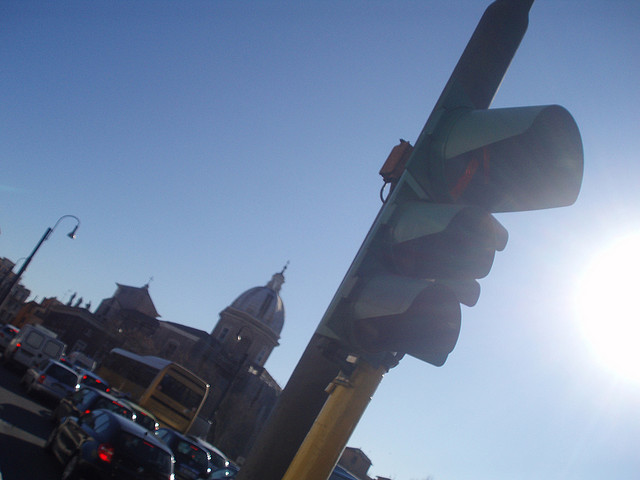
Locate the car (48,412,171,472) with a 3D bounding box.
[{"bbox_3d":[-4.117,3.833,9.324,1.091,0.874,1.787,29,-15,-31],"label":"car"}]

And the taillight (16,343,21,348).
[{"bbox_3d":[-12.015,4.203,19.514,0.162,0.154,0.093,28,-16,-4],"label":"taillight"}]

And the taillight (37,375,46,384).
[{"bbox_3d":[-8.955,4.469,15.719,0.172,0.279,0.141,31,-17,-20],"label":"taillight"}]

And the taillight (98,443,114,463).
[{"bbox_3d":[-3.808,3.789,8.703,0.245,0.249,0.062,-7,-26,-31],"label":"taillight"}]

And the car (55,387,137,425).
[{"bbox_3d":[-5.616,3.986,12.110,1.093,1.011,1.895,10,-10,-38],"label":"car"}]

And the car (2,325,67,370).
[{"bbox_3d":[-11.615,4.029,20.238,2.115,1.770,3.151,18,-27,-37],"label":"car"}]

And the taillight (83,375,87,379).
[{"bbox_3d":[-9.242,5.400,19.209,0.104,0.109,0.028,1,-63,33],"label":"taillight"}]

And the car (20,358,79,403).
[{"bbox_3d":[-9.363,4.836,16.885,1.488,1.273,2.537,40,-25,-30],"label":"car"}]
